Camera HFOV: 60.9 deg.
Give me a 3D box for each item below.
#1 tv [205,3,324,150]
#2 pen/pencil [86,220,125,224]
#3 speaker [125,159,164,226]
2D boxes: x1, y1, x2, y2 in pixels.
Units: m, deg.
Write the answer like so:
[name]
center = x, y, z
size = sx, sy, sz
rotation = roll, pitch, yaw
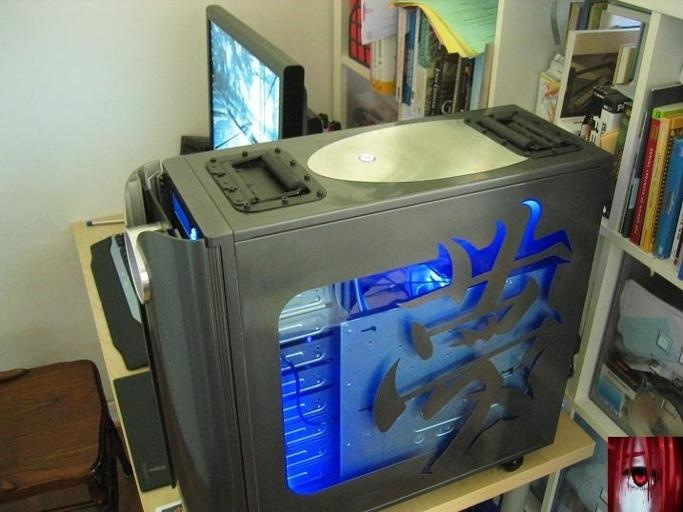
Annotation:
[tv]
center = -0.239, -0.529, 1.671
size = 0.177, 0.470, 0.521
rotation = -12, 35, -26
[pen/pencil]
center = -0.842, -0.123, 2.081
size = 0.103, 0.014, 0.016
rotation = -5, 17, -13
[speaker]
center = -0.364, -0.113, 1.076
size = 0.095, 0.144, 0.048
rotation = -6, 14, -27
